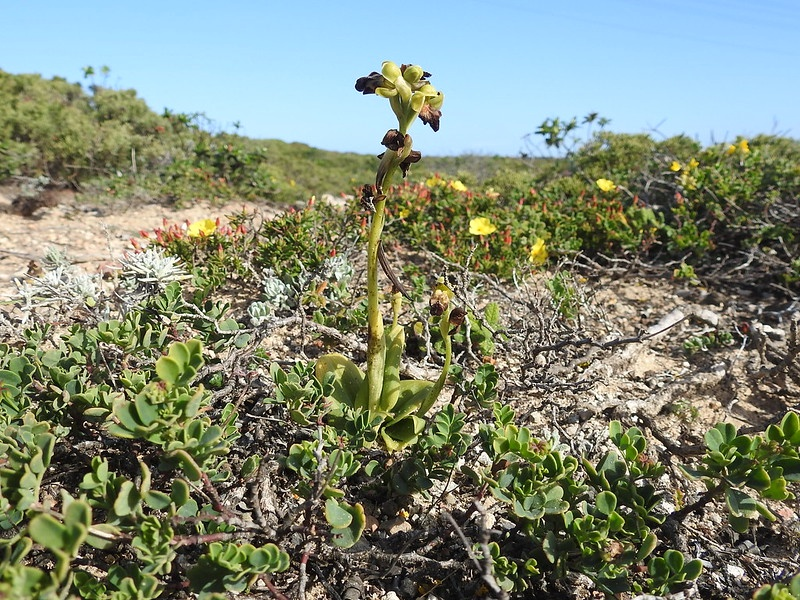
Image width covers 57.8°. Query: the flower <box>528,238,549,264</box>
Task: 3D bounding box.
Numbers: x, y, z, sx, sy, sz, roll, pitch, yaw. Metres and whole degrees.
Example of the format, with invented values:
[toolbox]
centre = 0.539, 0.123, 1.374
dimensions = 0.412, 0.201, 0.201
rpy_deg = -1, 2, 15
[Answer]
[flower]
centre = 1.408, -0.487, 7.331
dimensions = 0.257, 0.263, 0.084
rpy_deg = 4, -45, 21
